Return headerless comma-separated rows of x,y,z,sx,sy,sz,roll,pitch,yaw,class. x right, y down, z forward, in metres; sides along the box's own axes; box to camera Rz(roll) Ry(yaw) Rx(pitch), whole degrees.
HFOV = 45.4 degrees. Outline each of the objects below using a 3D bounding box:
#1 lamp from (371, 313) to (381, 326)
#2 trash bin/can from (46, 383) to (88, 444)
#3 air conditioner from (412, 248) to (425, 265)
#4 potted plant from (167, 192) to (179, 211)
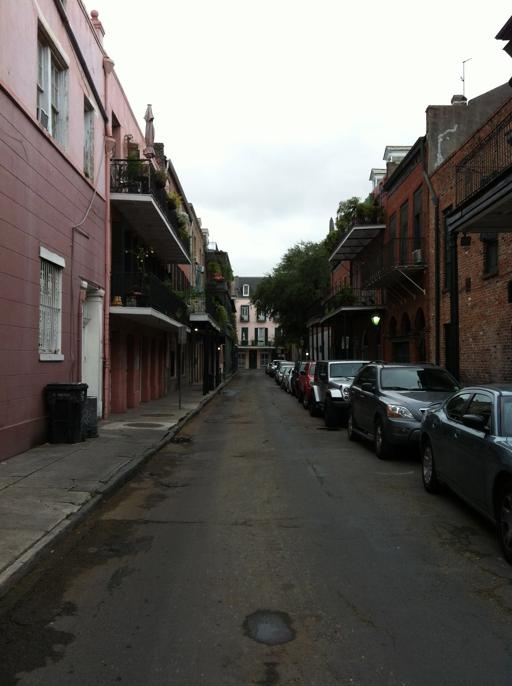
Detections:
5.321,-1.070,27.244,0.379,0.795,0.435,-1,2,-7,lamp
-3.263,1.148,10.899,0.590,1.514,0.825,0,0,4,trash bin/can
5.614,-2.975,21.328,0.289,0.924,0.537,0,4,-2,air conditioner
-2.693,-4.693,19.963,0.317,0.647,0.438,-8,-3,1,potted plant
